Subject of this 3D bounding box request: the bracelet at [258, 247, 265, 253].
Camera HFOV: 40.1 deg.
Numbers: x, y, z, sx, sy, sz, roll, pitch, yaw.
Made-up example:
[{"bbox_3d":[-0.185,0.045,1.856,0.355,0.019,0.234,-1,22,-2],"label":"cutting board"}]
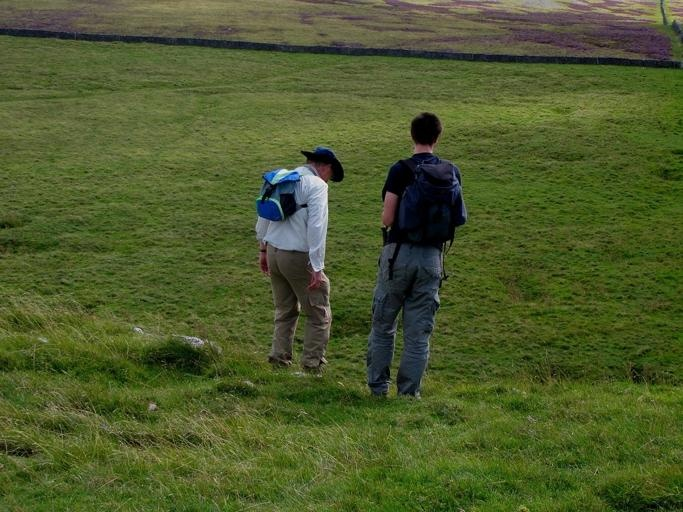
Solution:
[{"bbox_3d":[-1.541,-0.117,17.928,0.196,0.061,0.190,2,5,-1],"label":"bracelet"}]
